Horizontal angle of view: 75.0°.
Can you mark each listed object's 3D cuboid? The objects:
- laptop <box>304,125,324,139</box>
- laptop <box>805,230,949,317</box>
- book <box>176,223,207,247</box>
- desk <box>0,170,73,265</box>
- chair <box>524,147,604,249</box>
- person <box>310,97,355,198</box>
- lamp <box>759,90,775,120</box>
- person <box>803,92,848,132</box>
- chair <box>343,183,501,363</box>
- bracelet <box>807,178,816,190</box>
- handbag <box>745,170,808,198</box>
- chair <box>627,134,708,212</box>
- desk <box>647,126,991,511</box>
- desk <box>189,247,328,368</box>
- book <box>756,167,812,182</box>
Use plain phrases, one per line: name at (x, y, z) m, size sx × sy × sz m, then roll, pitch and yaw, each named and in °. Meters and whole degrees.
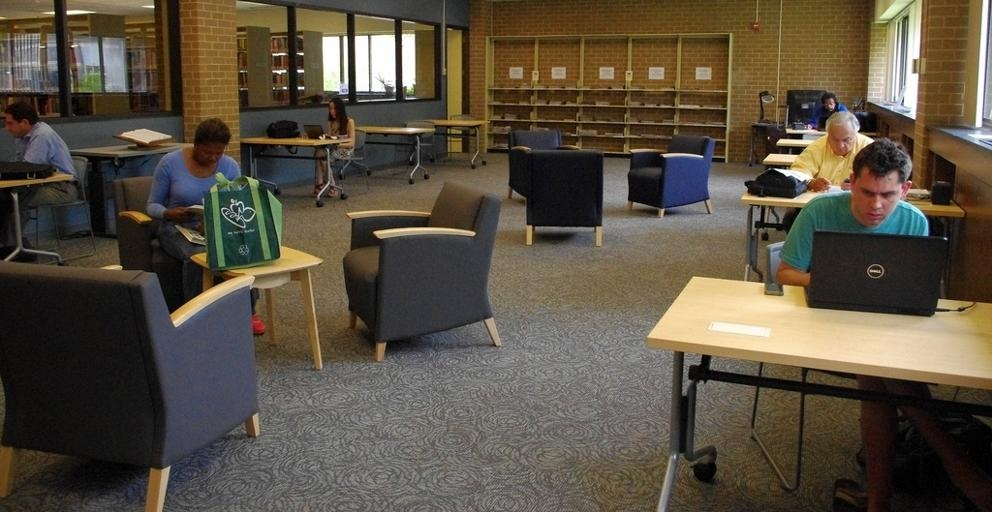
laptop at (-3.027, -2.075, 10.820) m, size 0.375 × 0.217 × 0.240 m, roll 3°, pitch 12°, yaw 10°
laptop at (2.243, 0.104, 3.856) m, size 0.828 × 0.480 × 0.538 m, roll 2°, pitch 9°, yaw 13°
book at (-2.598, -0.176, 5.485) m, size 0.139 × 0.141 × 0.319 m, roll -13°, pitch 20°, yaw -40°
desk at (-4.985, -0.367, 7.015) m, size 0.687 × 1.013 × 0.846 m, roll -11°, pitch 19°, yaw -33°
chair at (0.871, -0.756, 7.975) m, size 1.239 × 1.111 × 1.202 m, roll 1°, pitch 14°, yaw 4°
person at (-2.754, -1.859, 10.993) m, size 0.713 × 1.602 × 1.303 m, roll -3°, pitch 16°, yaw -12°
lamp at (5.924, -3.294, 14.128) m, size 0.327 × 0.642 × 1.112 m, roll 7°, pitch 16°, yaw 22°
person at (6.181, -2.682, 11.966) m, size 0.610 × 0.644 × 0.964 m, roll 8°, pitch 29°, yaw 45°
chair at (-0.670, 0.046, 5.743) m, size 1.425 × 1.205 × 1.190 m, roll -12°, pitch 20°, yaw -40°
bracelet at (3.130, -0.698, 6.372) m, size 0.122 × 0.099 × 0.089 m, roll 2°, pitch 13°, yaw 34°
handbag at (2.755, -0.686, 6.257) m, size 0.467 × 0.171 × 0.580 m, roll 7°, pitch 17°, yaw 25°
chair at (2.726, -1.277, 9.975) m, size 1.411 × 1.272 × 1.276 m, roll -5°, pitch 11°, yaw -27°
desk at (2.015, 0.424, 3.970) m, size 1.868 × 2.183 × 1.253 m, roll 4°, pitch 16°, yaw 13°
desk at (-1.974, 0.458, 5.409) m, size 1.155 × 0.809 × 1.082 m, roll -6°, pitch 16°, yaw -27°
book at (2.830, -0.800, 6.318) m, size 0.287 × 0.077 × 0.276 m, roll -6°, pitch 10°, yaw -27°
